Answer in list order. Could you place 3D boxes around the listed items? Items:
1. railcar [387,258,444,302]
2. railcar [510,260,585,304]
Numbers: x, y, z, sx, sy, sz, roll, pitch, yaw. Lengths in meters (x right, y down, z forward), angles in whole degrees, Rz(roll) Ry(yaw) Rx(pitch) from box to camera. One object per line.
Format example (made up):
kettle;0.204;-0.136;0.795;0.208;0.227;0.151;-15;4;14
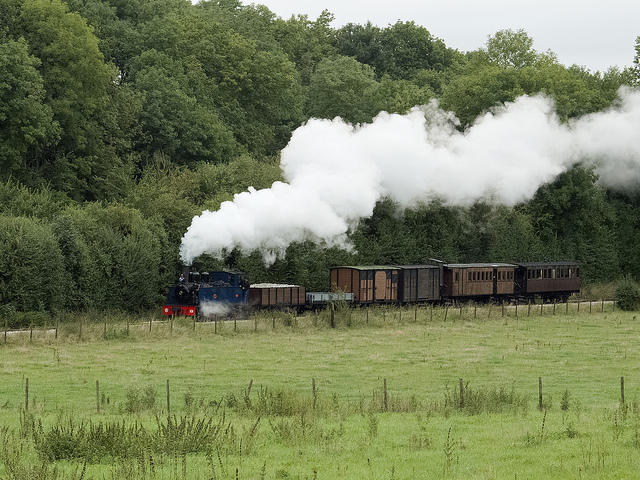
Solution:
railcar;7.308;3.509;104.329;4.191;3.513;2.412;-2;5;-44
railcar;19.157;3.783;111.362;6.699;3.467;2.224;0;-2;-37
